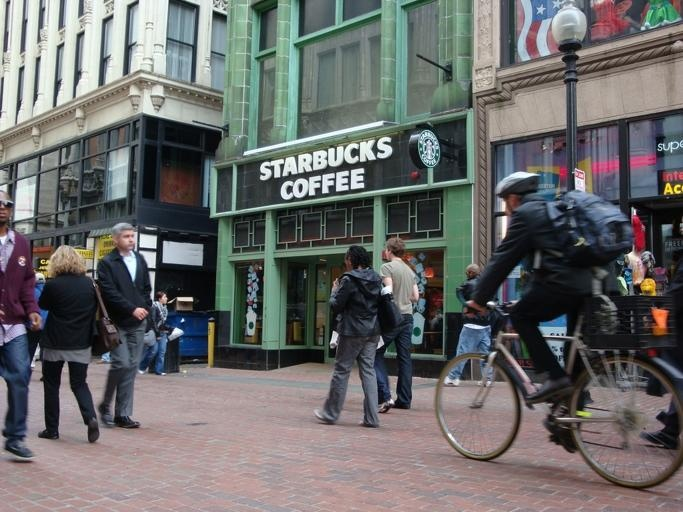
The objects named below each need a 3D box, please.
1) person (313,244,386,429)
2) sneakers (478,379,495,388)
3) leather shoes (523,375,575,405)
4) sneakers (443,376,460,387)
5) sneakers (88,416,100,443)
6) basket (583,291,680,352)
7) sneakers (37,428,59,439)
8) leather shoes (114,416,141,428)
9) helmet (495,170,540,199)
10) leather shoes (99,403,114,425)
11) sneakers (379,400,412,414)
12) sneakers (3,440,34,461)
[{"bbox_3d":[0.138,0.980,9.468,0.769,2.258,0.391,-2,-5,1],"label":"person"},{"bbox_3d":[1.413,1.236,7.439,0.092,0.066,0.141,3,-4,2],"label":"sneakers"},{"bbox_3d":[1.906,1.231,7.069,0.464,0.193,0.158,-22,-15,21],"label":"leather shoes"},{"bbox_3d":[1.082,1.249,7.603,0.062,0.062,0.140,1,2,-35],"label":"sneakers"},{"bbox_3d":[-2.698,1.889,8.309,0.106,0.295,0.132,4,1,-25],"label":"sneakers"},{"bbox_3d":[2.590,0.553,6.717,0.573,0.351,0.561,4,-6,-40],"label":"basket"},{"bbox_3d":[-3.253,1.967,8.503,0.223,0.092,0.100,5,2,34],"label":"sneakers"},{"bbox_3d":[-2.599,2.031,9.341,0.378,0.156,0.121,1,-5,9],"label":"leather shoes"},{"bbox_3d":[1.728,-0.698,7.398,0.416,0.257,0.322,-14,0,3],"label":"helmet"},{"bbox_3d":[-2.901,1.967,9.438,0.122,0.148,0.355,2,10,-17],"label":"leather shoes"},{"bbox_3d":[0.733,2.092,10.656,0.519,0.208,0.178,-4,-2,-22],"label":"sneakers"},{"bbox_3d":[-3.196,1.922,7.550,0.323,0.217,0.173,-4,-5,29],"label":"sneakers"}]
